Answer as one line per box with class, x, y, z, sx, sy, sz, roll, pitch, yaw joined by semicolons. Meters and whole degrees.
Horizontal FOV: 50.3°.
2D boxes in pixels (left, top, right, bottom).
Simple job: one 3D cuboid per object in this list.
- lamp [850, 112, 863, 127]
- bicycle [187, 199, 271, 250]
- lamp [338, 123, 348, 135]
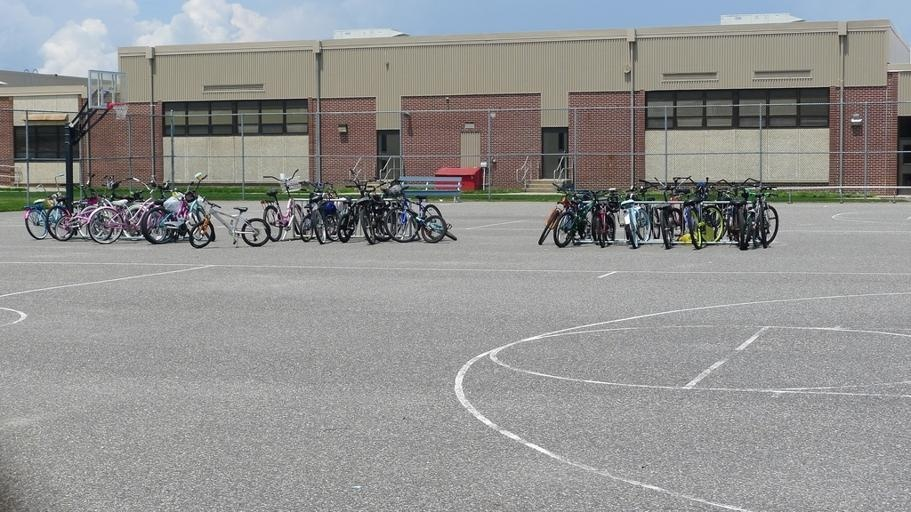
lamp;19.161;-6.514;46.296;0.647;0.563;0.396;3;5;12
bicycle;-5.869;-0.767;24.856;2.634;1.377;1.323;3;3;-4
lamp;-6.000;-6.807;51.849;0.576;0.510;0.296;2;13;12
